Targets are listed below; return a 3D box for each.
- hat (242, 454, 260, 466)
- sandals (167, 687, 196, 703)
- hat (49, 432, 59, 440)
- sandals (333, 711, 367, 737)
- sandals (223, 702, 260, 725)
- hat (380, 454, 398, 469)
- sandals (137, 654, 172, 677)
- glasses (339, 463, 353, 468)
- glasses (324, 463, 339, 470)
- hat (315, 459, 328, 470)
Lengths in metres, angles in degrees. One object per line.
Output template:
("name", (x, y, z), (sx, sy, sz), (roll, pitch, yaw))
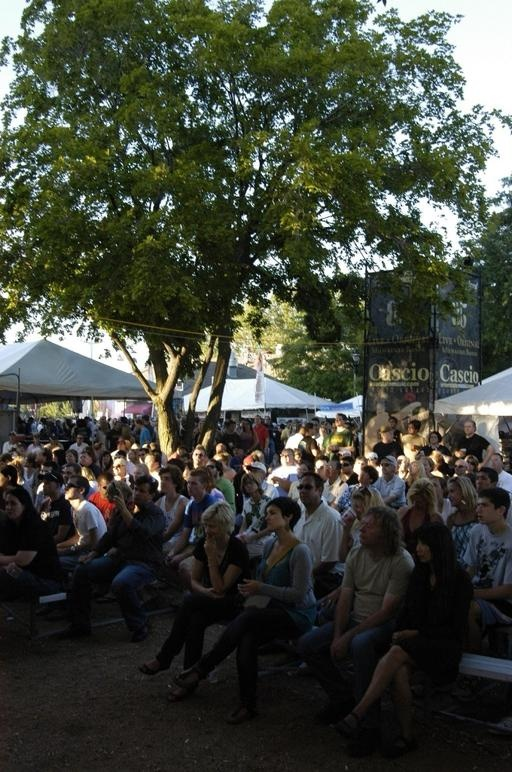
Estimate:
("hat", (-0.098, 1.204, 10.793), (0.277, 0.142, 0.192), (-28, -7, 36))
("sandals", (-0.490, 1.975, 4.248), (0.161, 0.039, 0.083), (12, -3, -39))
("hat", (-7.485, 1.838, 24.363), (0.333, 0.405, 0.361), (-2, -46, -18))
("sandals", (0.494, 1.760, 3.430), (0.061, 0.078, 0.201), (-3, -31, -34))
("sandals", (-0.079, 1.910, 3.875), (0.161, 0.145, 0.078), (5, -1, -14))
("hat", (1.659, 0.941, 8.203), (0.163, 0.121, 0.241), (-8, -35, 40))
("sandals", (-0.697, 1.922, 4.515), (0.288, 0.098, 0.136), (13, -2, -24))
("glasses", (1.171, 1.034, 8.571), (0.075, 0.043, 0.090), (-3, -12, 36))
("glasses", (0.993, 1.030, 8.516), (0.109, 0.074, 0.142), (-4, -10, 25))
("hat", (0.901, 1.100, 9.225), (0.111, 0.145, 0.152), (1, -7, 25))
